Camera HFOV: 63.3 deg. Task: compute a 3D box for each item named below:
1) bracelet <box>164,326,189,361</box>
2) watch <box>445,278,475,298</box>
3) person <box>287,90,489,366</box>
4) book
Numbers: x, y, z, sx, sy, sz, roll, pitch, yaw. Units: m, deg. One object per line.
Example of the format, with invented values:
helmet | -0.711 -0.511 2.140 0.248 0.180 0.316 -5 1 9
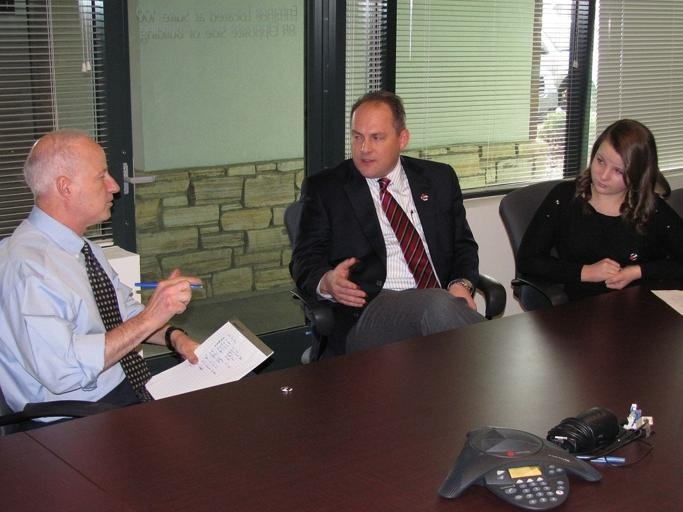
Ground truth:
bracelet | -0.639 0.337 2.129 0.088 0.115 0.042 -26 6 -23
watch | 0.529 0.127 2.482 0.098 0.108 0.072 -26 17 11
person | 0.175 -0.177 2.821 1.010 1.592 1.190 -3 5 -10
book | -0.425 0.341 1.759 0.355 0.074 0.215 -26 45 -28
